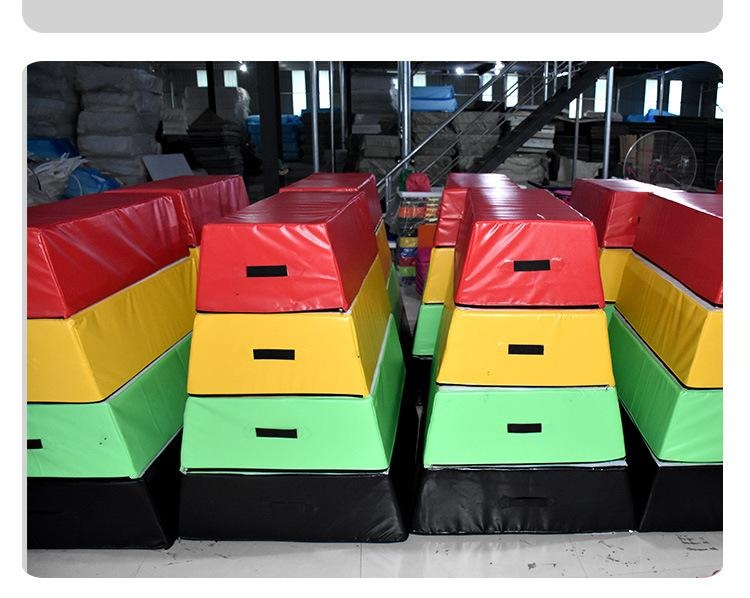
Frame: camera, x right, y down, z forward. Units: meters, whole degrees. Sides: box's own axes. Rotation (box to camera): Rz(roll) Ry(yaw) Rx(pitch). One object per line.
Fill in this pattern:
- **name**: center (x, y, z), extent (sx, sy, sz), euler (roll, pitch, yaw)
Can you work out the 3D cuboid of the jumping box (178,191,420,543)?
- **jumping box**: center (-0.225, 0.134, 2.042), extent (0.781, 1.011, 1.625), euler (1, 12, 4)
